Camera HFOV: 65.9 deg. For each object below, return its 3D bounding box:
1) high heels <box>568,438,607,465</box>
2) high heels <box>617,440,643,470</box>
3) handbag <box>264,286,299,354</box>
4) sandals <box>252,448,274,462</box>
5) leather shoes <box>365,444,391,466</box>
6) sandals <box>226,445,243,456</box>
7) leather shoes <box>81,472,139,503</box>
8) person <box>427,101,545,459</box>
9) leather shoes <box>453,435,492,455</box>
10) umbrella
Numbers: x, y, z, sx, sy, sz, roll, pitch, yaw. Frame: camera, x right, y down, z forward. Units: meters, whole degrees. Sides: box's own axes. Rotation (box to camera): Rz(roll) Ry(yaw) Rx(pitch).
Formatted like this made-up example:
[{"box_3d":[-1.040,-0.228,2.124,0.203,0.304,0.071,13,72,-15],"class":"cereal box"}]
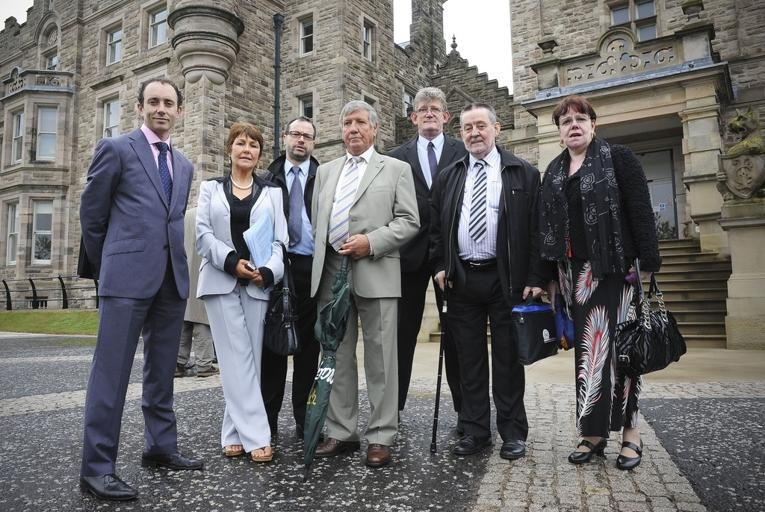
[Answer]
[{"box_3d":[1.876,1.812,5.497,0.442,0.182,0.158,3,-6,-36],"class":"high heels"},{"box_3d":[2.241,1.786,5.352,0.178,0.217,0.348,5,9,37],"class":"high heels"},{"box_3d":[-0.993,0.623,5.674,0.274,0.629,0.394,-4,8,-29],"class":"handbag"},{"box_3d":[-1.124,1.843,5.493,0.207,0.116,0.154,-2,7,-16],"class":"sandals"},{"box_3d":[-0.047,1.833,5.417,0.230,0.165,0.165,0,7,-2],"class":"leather shoes"},{"box_3d":[-1.407,1.843,5.565,0.177,0.057,0.074,-2,0,10],"class":"sandals"},{"box_3d":[-2.310,1.928,4.954,0.501,0.202,0.197,3,-1,18],"class":"leather shoes"},{"box_3d":[0.995,0.178,5.827,1.152,3.365,0.935,3,8,22],"class":"person"},{"box_3d":[0.869,1.813,5.697,0.403,0.152,0.145,6,-9,-44],"class":"leather shoes"},{"box_3d":[-0.552,0.970,5.478,0.331,1.855,1.014,2,7,16],"class":"umbrella"}]
